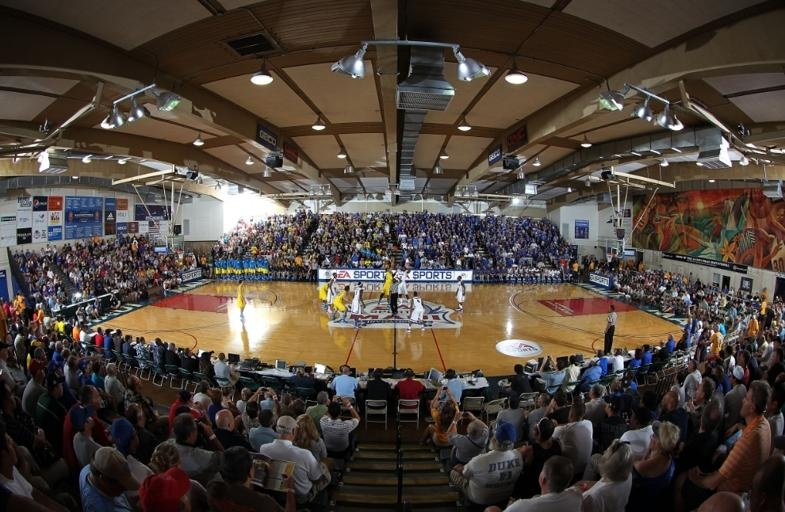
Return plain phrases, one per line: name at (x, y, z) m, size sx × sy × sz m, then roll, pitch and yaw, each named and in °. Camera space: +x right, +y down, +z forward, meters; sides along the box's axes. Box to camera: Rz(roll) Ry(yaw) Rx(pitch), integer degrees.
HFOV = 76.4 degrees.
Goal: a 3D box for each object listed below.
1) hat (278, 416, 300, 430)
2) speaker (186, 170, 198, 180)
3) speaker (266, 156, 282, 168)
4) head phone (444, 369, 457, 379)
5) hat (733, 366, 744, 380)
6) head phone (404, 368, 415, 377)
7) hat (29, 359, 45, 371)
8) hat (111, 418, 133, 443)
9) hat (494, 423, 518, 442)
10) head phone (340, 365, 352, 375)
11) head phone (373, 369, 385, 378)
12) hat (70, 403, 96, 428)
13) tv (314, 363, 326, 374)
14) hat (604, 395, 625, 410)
hat at (-1.830, 2.880, 8.774) m, size 0.296 × 0.244 × 0.472 m, roll 7°, pitch -6°, yaw 2°
speaker at (-7.752, -3.071, 19.185) m, size 0.329 × 0.344 × 0.397 m, roll 6°, pitch 7°, yaw -3°
speaker at (-3.793, -3.013, 15.956) m, size 0.513 × 0.374 × 0.312 m, roll 2°, pitch 28°, yaw -6°
head phone at (1.416, 2.862, 12.133) m, size 0.216 × 0.277 × 0.266 m, roll -3°, pitch -38°, yaw 9°
hat at (7.715, 2.582, 11.085) m, size 0.201 × 0.174 × 0.289 m, roll -1°, pitch 2°, yaw 25°
head phone at (0.390, 2.748, 11.751) m, size 0.200 × 0.238 × 0.246 m, roll -3°, pitch -29°, yaw 0°
hat at (-7.220, 2.256, 10.079) m, size 0.224 × 0.264 × 0.295 m, roll 19°, pitch 6°, yaw -39°
hat at (-4.640, 2.985, 8.631) m, size 0.323 × 0.367 × 0.447 m, roll 1°, pitch -4°, yaw -14°
hat at (1.904, 3.042, 8.694) m, size 0.412 × 0.296 × 0.663 m, roll 8°, pitch -14°, yaw 8°
head phone at (-1.127, 2.747, 12.019) m, size 0.234 × 0.279 × 0.272 m, roll 4°, pitch -6°, yaw -2°
head phone at (-0.344, 2.870, 12.042) m, size 0.228 × 0.269 × 0.270 m, roll 2°, pitch 3°, yaw 6°
hat at (-5.379, 2.694, 8.568) m, size 0.268 × 0.434 × 0.228 m, roll 4°, pitch -37°, yaw -1°
tv at (-1.909, 2.878, 12.940) m, size 0.386 × 0.327 × 0.207 m, roll 2°, pitch 2°, yaw 0°
hat at (4.229, 2.799, 9.625) m, size 0.367 × 0.170 × 0.477 m, roll 6°, pitch -4°, yaw -8°
